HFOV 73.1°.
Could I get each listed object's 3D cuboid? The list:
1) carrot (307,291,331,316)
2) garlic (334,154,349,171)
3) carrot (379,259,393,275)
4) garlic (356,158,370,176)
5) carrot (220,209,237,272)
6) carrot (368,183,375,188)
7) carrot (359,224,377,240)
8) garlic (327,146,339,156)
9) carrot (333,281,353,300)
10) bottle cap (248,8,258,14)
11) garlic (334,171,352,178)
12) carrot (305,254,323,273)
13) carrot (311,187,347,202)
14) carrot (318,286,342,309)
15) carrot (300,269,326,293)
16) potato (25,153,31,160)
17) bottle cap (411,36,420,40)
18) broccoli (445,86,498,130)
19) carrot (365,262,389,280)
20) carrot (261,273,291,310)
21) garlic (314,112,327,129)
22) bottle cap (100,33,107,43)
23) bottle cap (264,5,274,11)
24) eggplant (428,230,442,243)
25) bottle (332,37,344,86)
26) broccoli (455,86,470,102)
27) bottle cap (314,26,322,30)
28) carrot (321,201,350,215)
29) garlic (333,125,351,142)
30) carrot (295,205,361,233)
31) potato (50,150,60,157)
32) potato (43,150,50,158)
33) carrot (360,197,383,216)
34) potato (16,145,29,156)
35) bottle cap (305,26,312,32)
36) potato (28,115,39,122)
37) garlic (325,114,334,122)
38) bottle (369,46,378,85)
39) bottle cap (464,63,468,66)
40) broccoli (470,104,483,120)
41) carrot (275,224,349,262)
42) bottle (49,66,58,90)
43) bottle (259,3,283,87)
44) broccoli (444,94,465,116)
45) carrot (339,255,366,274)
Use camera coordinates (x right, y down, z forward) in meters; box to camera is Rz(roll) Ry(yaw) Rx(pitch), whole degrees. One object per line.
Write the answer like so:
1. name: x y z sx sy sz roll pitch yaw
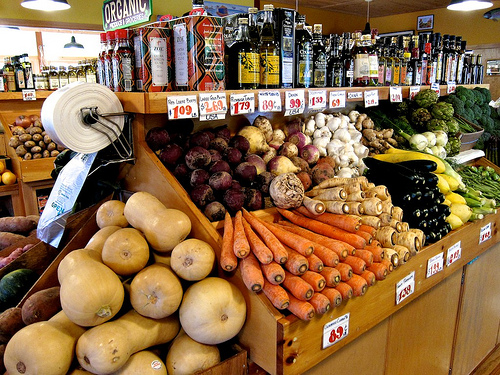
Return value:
1. carrot: 0.265 0.437 1.326 0.071 0.075 0.087 3 6 -24
2. garlic: 0.574 -0.148 2.113 0.066 0.095 0.044 -5 -9 -12
3. carrot: 0.632 0.360 1.580 0.052 0.058 0.065 -3 13 -25
4. garlic: 0.734 -0.127 2.211 0.028 0.094 0.067 -12 2 44
5. carrot: -0.095 0.208 1.472 0.070 0.078 0.339 21 35 -20
6. carrot: 0.671 -0.007 1.871 0.025 0.014 0.026 1 15 4
7. carrot: 0.549 0.210 1.590 0.037 0.030 0.081 -22 38 -28
8. garlic: 0.524 -0.227 2.138 0.051 0.054 0.052 -16 13 9
9. carrot: 0.380 0.422 1.397 0.058 0.061 0.071 -4 11 -24
10. bottle cap: 0.015 -0.913 1.762 0.038 0.025 0.040 11 20 30
11. garlic: 0.571 -0.074 2.039 0.067 0.039 0.070 0 5 45
12. carrot: 0.267 0.307 1.379 0.036 0.035 0.079 -11 17 -6
13. carrot: 0.403 0.053 1.734 0.068 0.066 0.218 -22 6 -30
14. carrot: 0.322 0.430 1.374 0.070 0.076 0.084 8 6 -35
15. carrot: 0.263 0.372 1.393 0.077 0.081 0.094 16 8 -42
16. potato: -2.525 -0.349 3.872 0.061 0.075 0.017 20 -20 -18
17. bottle cap: 1.380 -1.245 2.840 0.082 0.022 0.080 -3 17 -9
18. broccoli: 2.038 -0.731 3.154 0.422 0.166 0.433 28 22 -10
19. carrot: 0.569 0.374 1.520 0.106 0.054 0.046 5 -2 -39
20. carrot: 0.095 0.404 1.309 0.064 0.086 0.145 -14 20 -36
21. garlic: 0.476 -0.449 2.279 0.075 0.103 0.055 4 -14 -10
22. bottle cap: -0.725 -0.743 1.692 0.022 0.051 0.090 -10 19 -28
23. bottle cap: 0.095 -0.906 1.724 0.041 0.027 0.042 14 24 30
24. eggplant: 1.055 0.274 1.928 0.125 0.061 0.039 -11 19 -29
25. bottle: 0.583 -0.819 2.231 0.066 0.299 0.180 5 17 21
26. broccoli: 1.944 -0.841 3.155 0.137 0.144 0.055 16 -25 -29
27. bottle cap: 0.429 -0.985 2.117 0.030 0.019 0.032 6 10 24
28. carrot: 0.402 0.099 1.619 0.048 0.048 0.152 0 5 -33
29. garlic: 0.616 -0.347 2.253 0.133 0.090 0.086 -11 19 -29
30. carrot: 0.384 0.154 1.617 0.245 0.051 0.050 23 13 32
31. potato: -2.320 -0.402 4.048 0.084 0.051 0.061 1 0 -43
32. potato: -2.384 -0.388 3.987 0.061 0.078 0.025 -5 1 -17
33. carrot: 0.593 0.095 1.670 0.078 0.087 0.097 2 2 -14
34. potato: -2.629 -0.427 3.953 0.106 0.062 0.112 14 43 12
35. bottle cap: 0.350 -0.942 2.026 0.042 0.033 0.043 -6 21 -18
36. potato: -2.846 -0.897 4.482 0.098 0.105 0.095 9 7 44
37. garlic: 0.544 -0.471 2.316 0.051 0.020 0.054 1 35 8
38. bottle: 0.878 -0.855 2.410 0.058 0.254 0.241 5 18 22
39. bottle cap: 2.268 -1.282 3.566 0.022 0.014 0.021 -13 16 -43
40. broccoli: 2.145 -0.711 3.261 0.130 0.137 0.065 19 -19 -25
41. carrot: 0.266 0.237 1.589 0.390 0.096 0.092 28 15 30
42. bottle: -2.518 -1.396 4.364 0.111 0.284 0.211 -11 19 -30
43. bottle: 0.102 -0.740 1.789 0.077 0.412 0.140 11 20 39
44. broccoli: 1.871 -0.755 3.107 0.144 0.176 0.214 13 22 41
45. carrot: 0.444 0.335 1.485 0.115 0.058 0.047 21 -8 23
